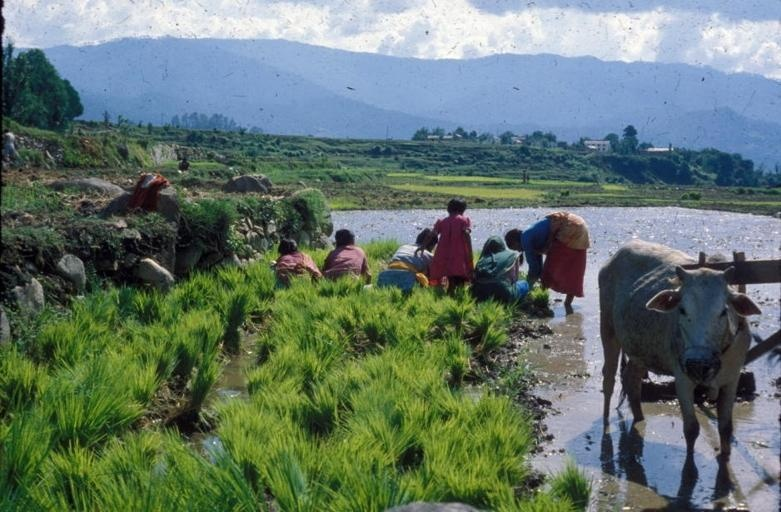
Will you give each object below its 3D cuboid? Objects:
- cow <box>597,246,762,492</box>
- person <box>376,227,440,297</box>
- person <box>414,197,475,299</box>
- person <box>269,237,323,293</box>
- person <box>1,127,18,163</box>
[{"bbox_3d":[5.736,2.018,21.294,2.297,4.306,5.603,-4,6,-8],"label":"cow"},{"bbox_3d":[0.462,0.210,26.388,1.008,0.913,2.564,17,41,20],"label":"person"},{"bbox_3d":[1.559,-0.277,24.931,1.064,2.200,0.439,5,5,3],"label":"person"},{"bbox_3d":[-2.320,0.197,24.969,1.070,1.096,0.955,5,5,-10],"label":"person"},{"bbox_3d":[-11.921,-3.346,31.937,0.405,0.857,1.238,4,5,-15],"label":"person"}]
